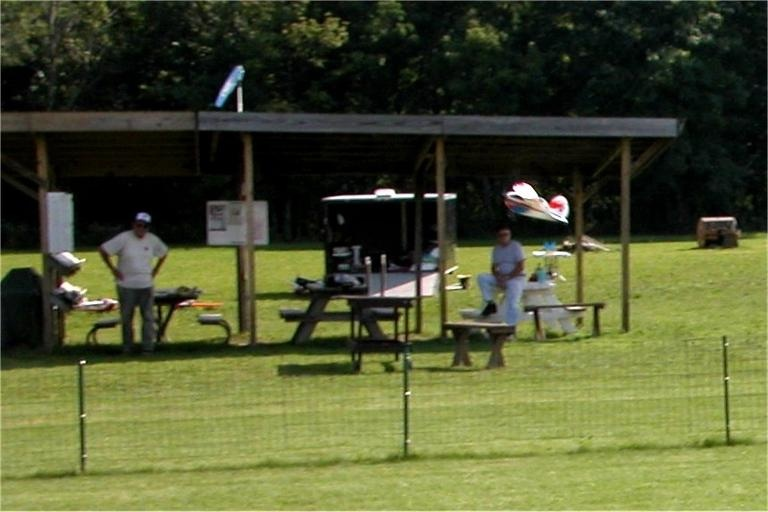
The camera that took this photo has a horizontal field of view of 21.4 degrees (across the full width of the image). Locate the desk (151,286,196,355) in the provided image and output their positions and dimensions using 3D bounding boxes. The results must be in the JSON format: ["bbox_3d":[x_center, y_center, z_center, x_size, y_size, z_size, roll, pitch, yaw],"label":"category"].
[{"bbox_3d":[-6.594,2.026,65.007,1.205,1.918,1.891,3,-10,-5],"label":"desk"}]

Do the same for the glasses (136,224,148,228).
[{"bbox_3d":[-7.562,-0.806,63.617,0.403,0.148,0.183,-2,1,-8],"label":"glasses"}]

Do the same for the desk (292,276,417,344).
[{"bbox_3d":[-1.648,2.086,64.690,5.124,1.842,2.642,1,-1,-4],"label":"desk"}]
